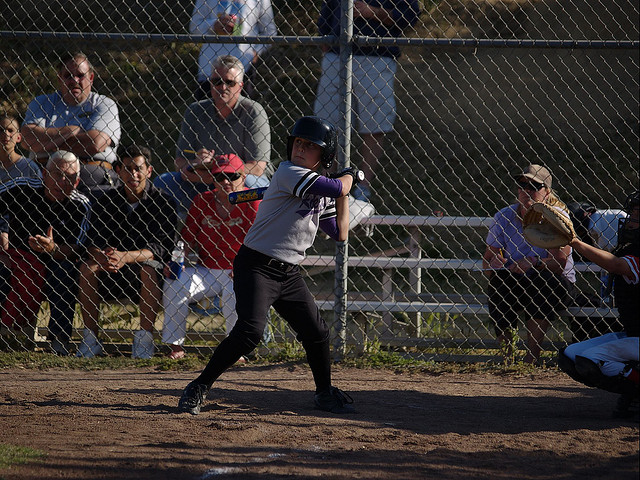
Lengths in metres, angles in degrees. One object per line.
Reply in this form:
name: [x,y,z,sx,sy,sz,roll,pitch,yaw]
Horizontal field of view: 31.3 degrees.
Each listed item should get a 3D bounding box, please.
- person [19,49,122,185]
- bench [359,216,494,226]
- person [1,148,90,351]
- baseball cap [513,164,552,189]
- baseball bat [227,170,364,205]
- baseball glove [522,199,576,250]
person: [-2.430,-0.971,11.106,0.956,1.634,0.899,1,5,4]
bench: [1.000,-0.172,10.802,1.251,0.117,0.581,-1,1,2]
person: [-2.521,0.103,10.478,0.797,1.618,0.326,-2,1,-10]
baseball cap: [1.926,-0.548,10.297,0.272,0.146,0.202,22,-1,-31]
baseball bat: [-0.190,-0.433,9.177,1.075,0.164,0.149,-8,22,-10]
baseball glove: [1.732,-0.110,8.693,0.398,0.303,0.154,31,29,28]
